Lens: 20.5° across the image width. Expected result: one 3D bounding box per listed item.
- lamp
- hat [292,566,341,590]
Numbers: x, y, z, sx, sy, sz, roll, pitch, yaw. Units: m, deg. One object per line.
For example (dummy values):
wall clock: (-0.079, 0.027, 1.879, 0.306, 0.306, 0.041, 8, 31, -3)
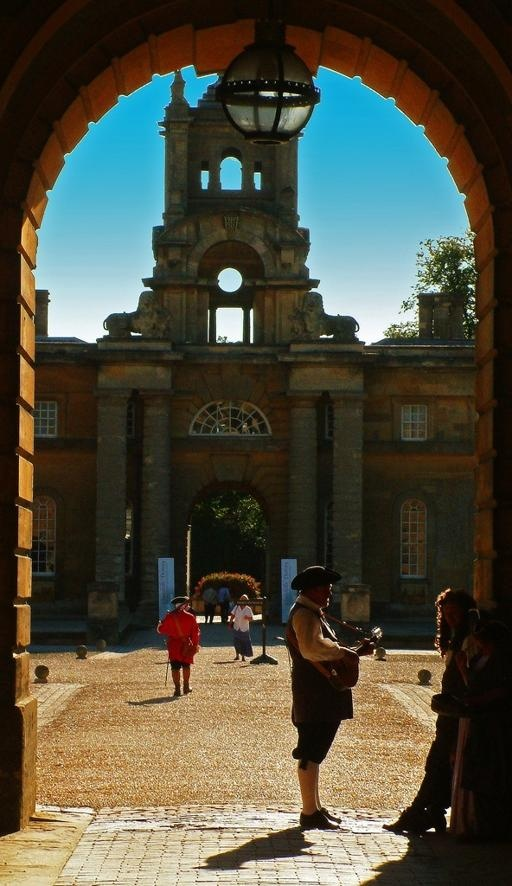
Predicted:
lamp: (0.084, -2.276, 8.837, 0.637, 0.689, 0.680, 5, 20, 14)
hat: (0.359, 0.930, 9.499, 0.201, 0.097, 0.235, -11, -6, -17)
